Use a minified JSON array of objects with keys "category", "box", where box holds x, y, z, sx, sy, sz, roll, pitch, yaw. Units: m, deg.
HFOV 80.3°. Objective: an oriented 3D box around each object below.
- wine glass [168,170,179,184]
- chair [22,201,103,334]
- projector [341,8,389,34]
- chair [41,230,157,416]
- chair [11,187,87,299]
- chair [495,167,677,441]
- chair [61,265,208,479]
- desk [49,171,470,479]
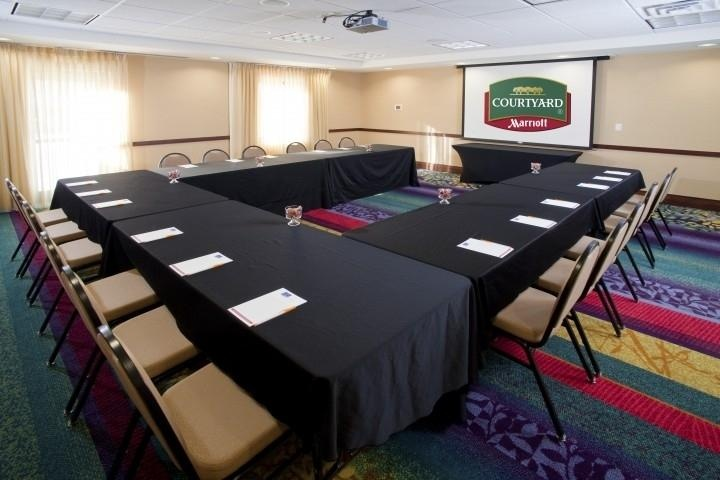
[{"category":"wine glass","box":[-2.231,-0.770,5.200,0.149,0.151,0.159,-3,9,-39]},{"category":"chair","box":[-2.789,0.280,4.021,0.658,0.758,0.983,-17,44,-38]},{"category":"projector","box":[0.047,-2.690,5.319,0.422,0.148,0.310,12,19,36]},{"category":"chair","box":[-2.006,0.662,3.307,0.891,1.139,0.770,-16,45,-37]},{"category":"chair","box":[-3.271,0.066,4.493,0.780,0.928,0.981,-13,38,-32]},{"category":"chair","box":[2.000,0.600,3.797,0.690,1.054,2.068,16,33,36]},{"category":"chair","box":[-1.515,0.929,2.913,0.873,1.325,0.764,-14,36,-30]},{"category":"desk","box":[-0.806,0.647,3.077,0.847,0.473,2.317,-19,26,-41]}]
